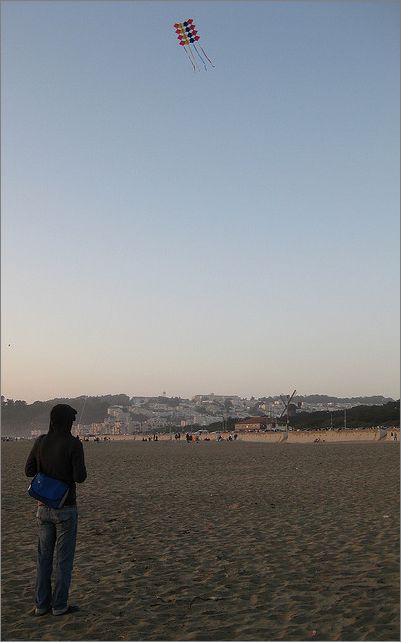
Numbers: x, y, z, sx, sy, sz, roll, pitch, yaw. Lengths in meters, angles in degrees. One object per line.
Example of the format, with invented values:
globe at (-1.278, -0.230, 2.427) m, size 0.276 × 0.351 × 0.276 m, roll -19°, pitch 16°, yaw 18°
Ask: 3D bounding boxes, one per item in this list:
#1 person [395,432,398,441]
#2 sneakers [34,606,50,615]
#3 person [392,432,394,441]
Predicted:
person at (20.482, 11.988, 63.137) m, size 0.355 × 0.811 × 1.660 m, roll -2°, pitch -10°, yaw 16°
sneakers at (-1.474, 2.700, 5.658) m, size 0.054 × 0.071 × 0.167 m, roll 2°, pitch -8°, yaw 10°
person at (20.299, 12.109, 63.781) m, size 0.334 × 0.826 × 1.109 m, roll -2°, pitch -10°, yaw 17°
